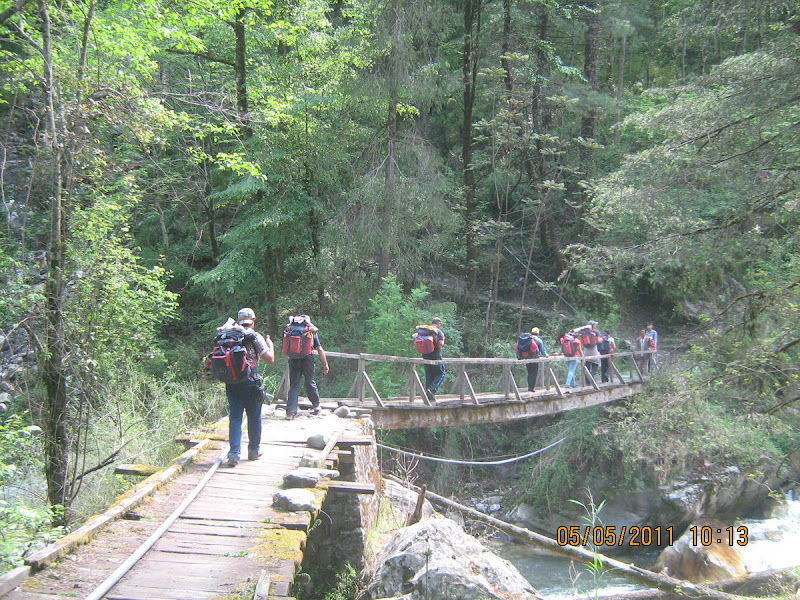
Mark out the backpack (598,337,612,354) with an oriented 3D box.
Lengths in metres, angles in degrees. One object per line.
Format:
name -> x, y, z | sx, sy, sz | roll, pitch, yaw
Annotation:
backpack -> 5.643, 1.244, 21.221 | 0.341, 0.533, 0.273 | -8, -16, 32

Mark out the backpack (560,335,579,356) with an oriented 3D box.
backpack -> 4.400, 1.195, 20.155 | 0.489, 0.577, 0.413 | -10, 15, -32

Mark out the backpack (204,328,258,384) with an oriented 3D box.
backpack -> -2.754, 0.946, 12.792 | 0.761, 0.980, 0.304 | -2, 8, -12

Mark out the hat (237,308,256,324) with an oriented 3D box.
hat -> -2.613, 0.257, 13.154 | 0.272, 0.243, 0.356 | -2, 8, -16

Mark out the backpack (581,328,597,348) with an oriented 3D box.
backpack -> 5.060, 1.036, 20.646 | 0.397, 0.587, 0.294 | 6, 12, 45

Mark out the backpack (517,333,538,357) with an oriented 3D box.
backpack -> 3.168, 1.133, 19.067 | 0.519, 0.625, 0.303 | -2, -6, 30

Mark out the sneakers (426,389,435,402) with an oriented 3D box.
sneakers -> 0.708, 2.209, 17.604 | 0.132, 0.353, 0.119 | -6, -3, -26
